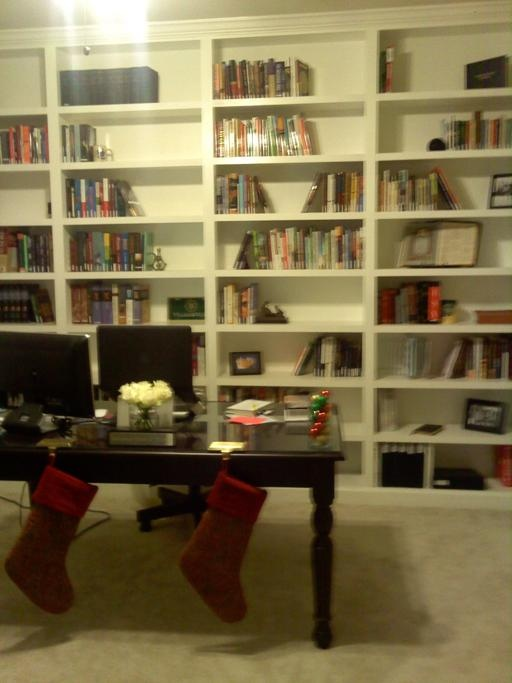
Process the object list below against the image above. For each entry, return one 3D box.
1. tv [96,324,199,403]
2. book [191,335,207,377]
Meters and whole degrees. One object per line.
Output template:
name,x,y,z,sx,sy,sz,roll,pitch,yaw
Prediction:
tv,-0.472,0.062,2.557,0.408,0.341,0.090,0,5,7
book,-0.328,0.090,3.483,0.116,0.192,0.190,-1,-25,3
